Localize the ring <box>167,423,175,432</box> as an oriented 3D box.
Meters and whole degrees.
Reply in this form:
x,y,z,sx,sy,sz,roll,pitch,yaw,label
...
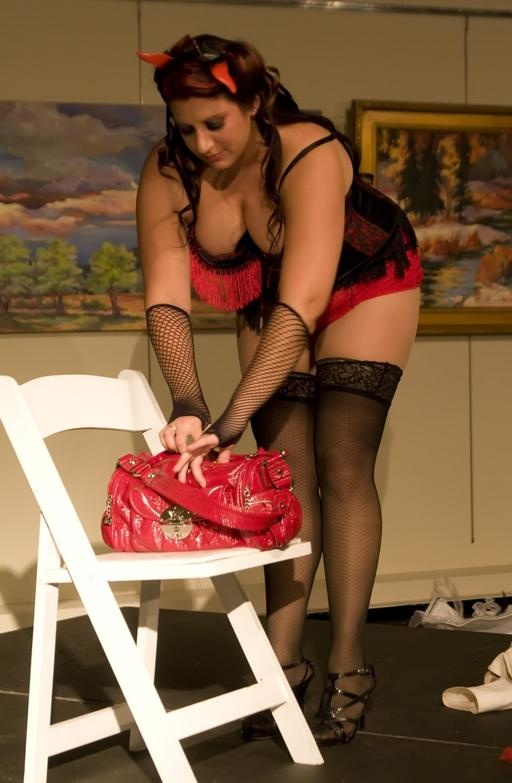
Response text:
x,y,z,sx,sy,sz,roll,pitch,yaw,label
-0.147,0.060,1.202,0.011,0.007,0.013,-6,-15,0,ring

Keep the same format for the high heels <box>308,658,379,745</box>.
x,y,z,sx,sy,sz,roll,pitch,yaw,label
0.180,0.603,1.391,0.074,0.075,0.206,1,10,22,high heels

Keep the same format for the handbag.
x,y,z,sx,sy,sz,roll,pitch,yaw,label
-0.075,0.172,1.146,0.336,0.129,0.202,-2,7,27,handbag
